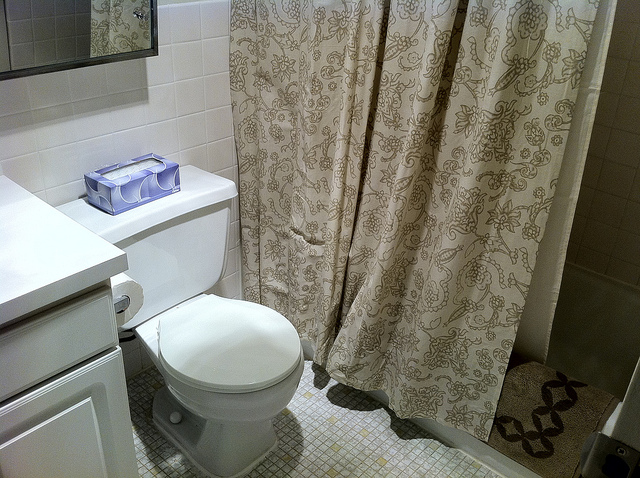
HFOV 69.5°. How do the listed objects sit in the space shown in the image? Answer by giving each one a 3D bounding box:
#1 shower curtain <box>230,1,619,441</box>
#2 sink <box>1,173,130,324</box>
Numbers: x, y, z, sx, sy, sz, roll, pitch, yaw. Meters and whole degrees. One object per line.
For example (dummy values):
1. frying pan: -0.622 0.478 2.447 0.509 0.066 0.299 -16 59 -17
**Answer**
1. shower curtain: 0.218 -0.107 1.641 1.302 1.418 0.415 28 39 32
2. sink: -0.657 0.080 1.188 0.391 0.084 0.250 34 47 23
